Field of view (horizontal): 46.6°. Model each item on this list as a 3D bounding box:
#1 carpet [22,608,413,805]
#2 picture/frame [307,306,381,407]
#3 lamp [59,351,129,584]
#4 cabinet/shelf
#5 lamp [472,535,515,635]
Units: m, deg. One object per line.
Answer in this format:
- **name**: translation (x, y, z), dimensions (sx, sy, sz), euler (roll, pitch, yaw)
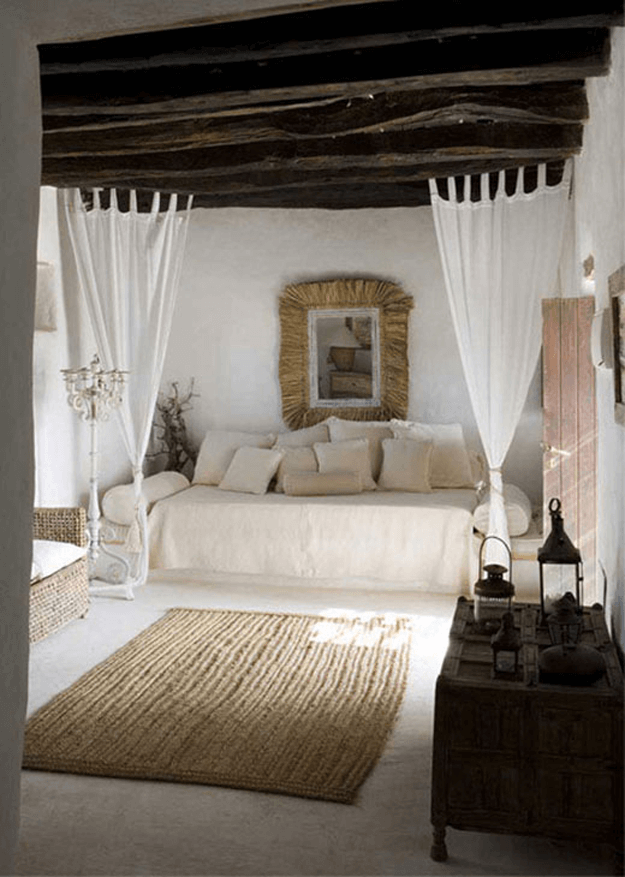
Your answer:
- **carpet**: translation (-0.337, 1.067, 3.155), dimensions (1.458, 0.037, 1.697), euler (0, 2, 13)
- **picture/frame**: translation (0.280, -0.695, 5.928), dimensions (0.740, 1.054, 0.049), euler (-1, 1, 7)
- **lamp**: translation (-1.418, 0.238, 4.722), dimensions (0.383, 1.529, 0.973), euler (-1, 2, -20)
- **cabinet/shelf**: translation (0.571, 0.724, 2.031), dimensions (0.495, 0.531, 0.904), euler (0, 3, 11)
- **lamp**: translation (0.575, 0.472, 2.278), dimensions (0.112, 0.259, 0.113), euler (1, 7, 26)
